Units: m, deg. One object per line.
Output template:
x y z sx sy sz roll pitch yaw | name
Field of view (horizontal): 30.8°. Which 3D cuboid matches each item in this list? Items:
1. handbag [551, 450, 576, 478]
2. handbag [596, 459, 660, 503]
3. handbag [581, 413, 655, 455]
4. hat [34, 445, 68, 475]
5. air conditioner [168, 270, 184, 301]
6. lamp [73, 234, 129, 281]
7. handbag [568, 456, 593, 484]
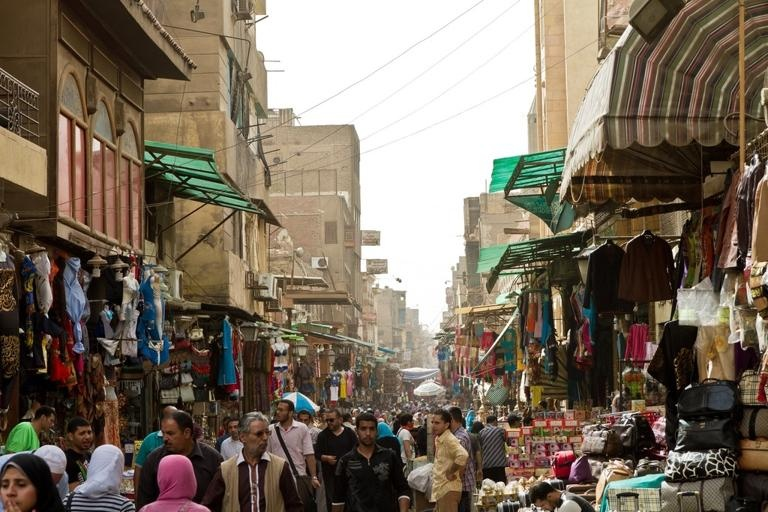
2.881 3.342 22.385 0.466 0.475 0.332 -1 -23 2 | handbag
3.492 3.224 19.997 0.744 0.820 0.560 0 -5 18 | handbag
3.712 2.772 21.483 1.011 0.520 0.616 -8 0 -42 | handbag
-4.110 2.495 17.232 0.447 0.248 0.360 23 11 10 | hat
-4.281 0.587 28.360 0.177 0.552 0.579 -1 -3 7 | air conditioner
-4.741 0.007 23.601 0.356 0.549 1.343 -3 -11 7 | lamp
3.024 3.308 21.383 0.312 0.451 0.601 9 -18 -2 | handbag
